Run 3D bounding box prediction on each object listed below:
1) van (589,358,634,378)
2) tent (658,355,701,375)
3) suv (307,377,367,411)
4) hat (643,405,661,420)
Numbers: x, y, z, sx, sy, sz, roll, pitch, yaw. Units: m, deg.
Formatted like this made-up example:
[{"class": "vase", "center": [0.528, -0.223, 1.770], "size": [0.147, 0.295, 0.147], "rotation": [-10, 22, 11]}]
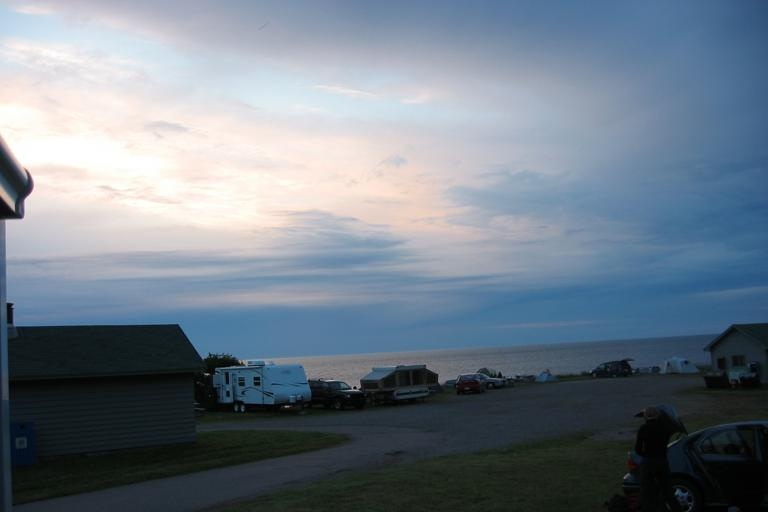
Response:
[{"class": "van", "center": [23.136, 11.104, 63.883], "size": [3.364, 1.454, 8.525], "rotation": [-7, -9, 21]}, {"class": "tent", "center": [29.106, 10.754, 62.381], "size": [2.517, 1.009, 3.198], "rotation": [0, -5, -7]}, {"class": "suv", "center": [-2.858, 8.482, 39.070], "size": [1.765, 1.161, 3.273], "rotation": [5, -11, -44]}, {"class": "hat", "center": [5.793, 3.327, 13.676], "size": [0.327, 0.360, 0.380], "rotation": [2, 8, 15]}]
